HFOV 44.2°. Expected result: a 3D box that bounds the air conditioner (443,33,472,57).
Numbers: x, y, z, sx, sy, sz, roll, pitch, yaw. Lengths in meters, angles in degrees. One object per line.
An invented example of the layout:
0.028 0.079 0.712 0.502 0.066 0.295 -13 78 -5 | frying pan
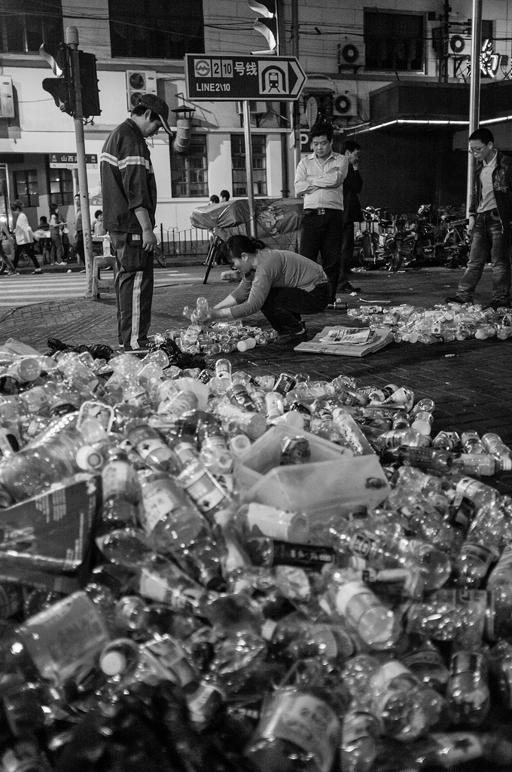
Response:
9.212 -15.393 28.526 1.339 1.062 0.467 -10 13 -36 | air conditioner

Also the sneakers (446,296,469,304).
2.686 -1.138 8.328 0.337 0.154 0.118 2 19 6 | sneakers

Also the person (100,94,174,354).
-1.048 -1.477 5.643 0.581 2.249 0.578 -9 13 -36 | person

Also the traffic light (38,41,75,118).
-3.360 -5.262 10.936 0.481 1.297 0.375 -6 -6 2 | traffic light

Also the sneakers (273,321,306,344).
0.349 -0.544 6.261 0.383 0.291 0.146 -4 17 2 | sneakers

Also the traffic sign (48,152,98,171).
-7.299 -8.869 24.944 1.948 0.589 0.958 -3 11 -8 | traffic sign

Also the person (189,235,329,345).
0.052 -0.952 6.290 1.326 1.075 0.811 -9 17 6 | person

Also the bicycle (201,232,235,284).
-0.857 -2.937 13.981 0.680 1.208 0.753 16 11 39 | bicycle

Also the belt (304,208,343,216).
0.919 -2.347 8.509 0.497 0.113 0.199 -1 11 2 | belt
